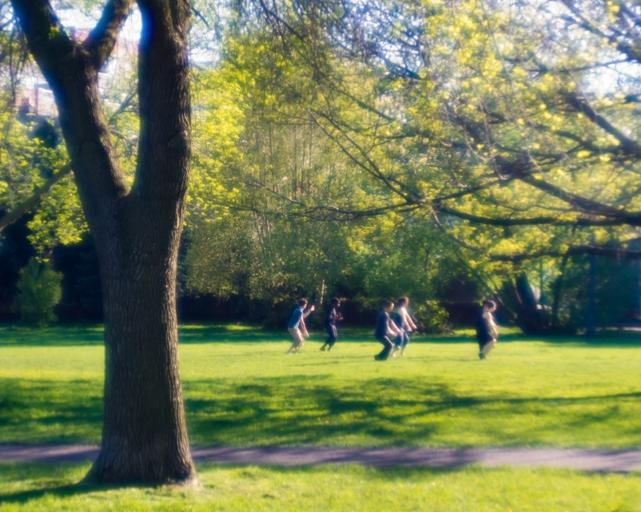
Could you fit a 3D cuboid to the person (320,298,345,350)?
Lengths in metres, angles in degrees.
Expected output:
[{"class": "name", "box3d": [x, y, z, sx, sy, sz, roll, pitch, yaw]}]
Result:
[{"class": "person", "box3d": [0.346, 2.594, 34.714, 0.719, 1.998, 0.701, 0, 32, 4]}]

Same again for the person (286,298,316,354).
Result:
[{"class": "person", "box3d": [-0.785, 2.496, 32.898, 0.695, 0.612, 1.579, -2, -36, -11]}]
